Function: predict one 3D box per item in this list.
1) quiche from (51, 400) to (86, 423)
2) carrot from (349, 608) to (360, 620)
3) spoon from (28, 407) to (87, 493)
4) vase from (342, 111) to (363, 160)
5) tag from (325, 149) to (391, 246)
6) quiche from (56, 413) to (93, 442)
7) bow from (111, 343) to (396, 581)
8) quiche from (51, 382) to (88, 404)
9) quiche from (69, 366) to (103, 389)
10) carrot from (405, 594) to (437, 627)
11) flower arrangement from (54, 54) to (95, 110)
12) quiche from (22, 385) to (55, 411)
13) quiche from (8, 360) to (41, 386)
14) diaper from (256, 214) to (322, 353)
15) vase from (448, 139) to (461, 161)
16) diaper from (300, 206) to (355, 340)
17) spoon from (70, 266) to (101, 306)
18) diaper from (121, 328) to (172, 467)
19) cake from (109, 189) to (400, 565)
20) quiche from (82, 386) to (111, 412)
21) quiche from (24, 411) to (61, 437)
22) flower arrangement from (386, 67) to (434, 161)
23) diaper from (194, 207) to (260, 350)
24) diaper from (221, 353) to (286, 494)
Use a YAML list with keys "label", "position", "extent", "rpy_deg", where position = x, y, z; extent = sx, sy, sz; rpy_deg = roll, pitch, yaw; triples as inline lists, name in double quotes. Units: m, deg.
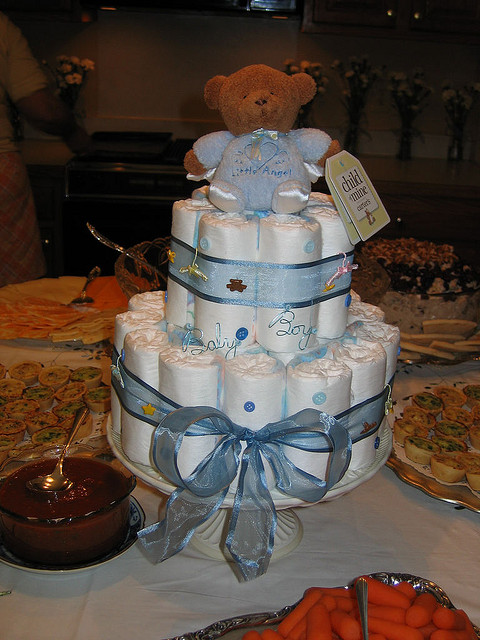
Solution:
- label: "quiche"
  position: [-0.330, 0.168, 1.129]
  extent: [0.070, 0.020, 0.065]
  rpy_deg: [-4, 17, -4]
- label: "carrot"
  position: [0.131, 0.335, 0.677]
  extent: [0.011, 0.009, 0.010]
  rpy_deg: [7, -3, -5]
- label: "spoon"
  position: [-0.255, 0.187, 0.847]
  extent: [0.038, 0.018, 0.109]
  rpy_deg: [8, 44, 11]
- label: "vase"
  position: [0.691, -1.148, 3.645]
  extent: [0.108, 0.268, 0.113]
  rpy_deg: [2, 19, 8]
- label: "tag"
  position: [0.172, -0.172, 0.855]
  extent: [0.065, 0.140, 0.084]
  rpy_deg: [-3, 20, 7]
- label: "quiche"
  position: [-0.307, 0.188, 1.069]
  extent: [0.046, 0.023, 0.053]
  rpy_deg: [5, 24, 1]
- label: "bow"
  position: [0.008, 0.184, 0.815]
  extent: [0.321, 0.139, 0.280]
  rpy_deg: [2, 30, 0]
- label: "quiche"
  position: [-0.339, 0.142, 1.186]
  extent: [0.047, 0.013, 0.040]
  rpy_deg: [1, 33, 2]
- label: "quiche"
  position: [-0.325, 0.118, 1.244]
  extent: [0.051, 0.020, 0.042]
  rpy_deg: [3, 21, -3]
- label: "carrot"
  position: [0.205, 0.331, 0.672]
  extent: [0.019, 0.011, 0.043]
  rpy_deg: [-2, -7, 24]
- label: "flower arrangement"
  position: [-0.938, -1.350, 3.321]
  extent: [0.208, 0.316, 0.382]
  rpy_deg: [-6, 18, -16]
- label: "quiche"
  position: [-0.397, 0.149, 1.170]
  extent: [0.052, 0.025, 0.046]
  rpy_deg: [19, 32, 16]
- label: "quiche"
  position: [-0.449, 0.105, 1.252]
  extent: [0.055, 0.018, 0.055]
  rpy_deg: [12, 26, 15]
- label: "diaper"
  position: [0.068, -0.052, 0.815]
  extent: [0.082, 0.179, 0.109]
  rpy_deg: [3, 19, 10]
- label: "vase"
  position: [1.328, -1.054, 3.654]
  extent: [0.071, 0.127, 0.044]
  rpy_deg: [4, 20, 12]
- label: "diaper"
  position: [0.131, -0.068, 0.886]
  extent: [0.069, 0.194, 0.073]
  rpy_deg: [-11, 24, -20]
- label: "spoon"
  position: [-0.423, -0.103, 1.605]
  extent: [0.084, 0.096, 0.159]
  rpy_deg: [-5, 18, -15]
- label: "diaper"
  position: [-0.133, 0.102, 0.802]
  extent: [0.086, 0.167, 0.085]
  rpy_deg: [-5, 16, -14]
- label: "cake"
  position: [0.042, 0.059, 0.838]
  extent: [0.459, 0.432, 0.366]
  rpy_deg: [-4, 18, -13]
- label: "quiche"
  position: [-0.283, 0.151, 1.158]
  extent: [0.057, 0.018, 0.056]
  rpy_deg: [6, 14, 15]
- label: "quiche"
  position: [-0.367, 0.188, 1.084]
  extent: [0.050, 0.017, 0.043]
  rpy_deg: [-4, 16, -34]
- label: "flower arrangement"
  position: [1.001, -1.236, 3.560]
  extent: [0.283, 0.528, 0.289]
  rpy_deg: [5, 19, 15]
- label: "diaper"
  position: [-0.019, -0.065, 0.837]
  extent: [0.090, 0.179, 0.143]
  rpy_deg: [0, 18, 1]
- label: "diaper"
  position: [0.007, 0.136, 0.802]
  extent: [0.102, 0.166, 0.107]
  rpy_deg: [-4, 14, -6]
